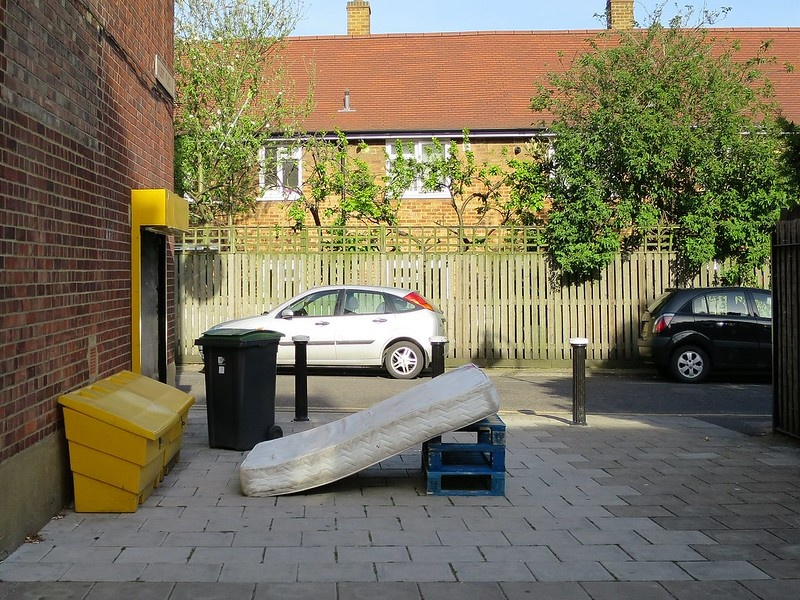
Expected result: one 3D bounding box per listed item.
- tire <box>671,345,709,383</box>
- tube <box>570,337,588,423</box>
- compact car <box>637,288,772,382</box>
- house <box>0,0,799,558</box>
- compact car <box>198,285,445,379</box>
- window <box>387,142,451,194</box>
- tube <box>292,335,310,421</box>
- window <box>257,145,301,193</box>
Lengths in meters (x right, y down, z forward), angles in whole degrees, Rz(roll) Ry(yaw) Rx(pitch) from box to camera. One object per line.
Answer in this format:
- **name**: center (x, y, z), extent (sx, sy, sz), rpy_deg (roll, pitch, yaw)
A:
- **tire**: center (5.475, 1.166, 15.265), extent (0.504, 0.526, 0.181), rpy_deg (-25, 3, 2)
- **tube**: center (2.489, 1.082, 11.215), extent (0.226, 1.205, 1.240), rpy_deg (1, 4, 13)
- **compact car**: center (5.841, 0.598, 15.622), extent (2.380, 1.173, 1.415), rpy_deg (-3, 1, -3)
- **house**: center (0.415, -0.403, 12.639), extent (9.092, 5.922, 5.027), rpy_deg (-1, -5, 2)
- **compact car**: center (-1.161, 0.528, 15.769), extent (3.945, 1.503, 1.889), rpy_deg (2, -4, 0)
- **window**: center (0.532, -3.431, 21.541), extent (1.556, 1.419, 0.111), rpy_deg (0, -3, -3)
- **tube**: center (-1.355, 1.056, 10.951), extent (0.277, 1.160, 0.281), rpy_deg (-2, -7, -6)
- **window**: center (-3.289, -3.536, 21.870), extent (1.306, 1.601, 0.110), rpy_deg (0, 4, -25)
